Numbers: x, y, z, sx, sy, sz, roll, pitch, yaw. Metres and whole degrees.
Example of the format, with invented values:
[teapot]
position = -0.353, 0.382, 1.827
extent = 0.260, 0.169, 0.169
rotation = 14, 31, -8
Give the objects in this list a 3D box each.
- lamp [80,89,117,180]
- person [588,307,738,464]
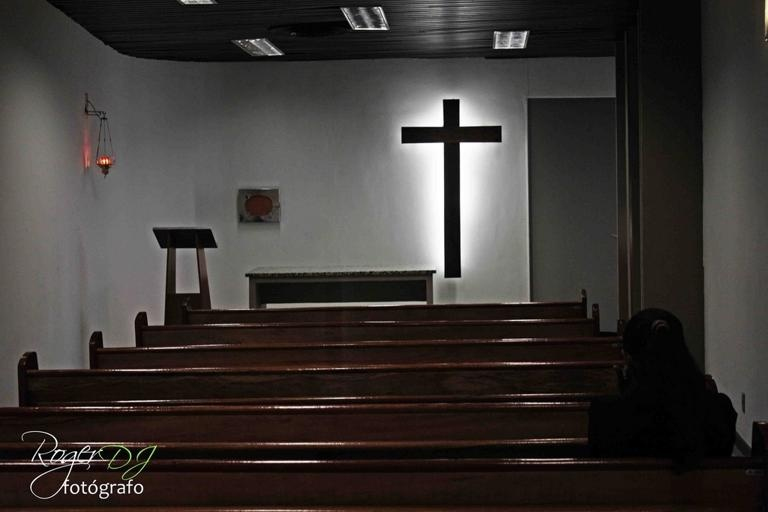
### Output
[lamp]
position = -2.770, -1.162, 7.104
extent = 0.122, 0.760, 0.456
rotation = 0, 1, 5
[person]
position = 1.158, 0.558, 3.410
extent = 0.689, 0.762, 0.576
rotation = -2, 2, 0
